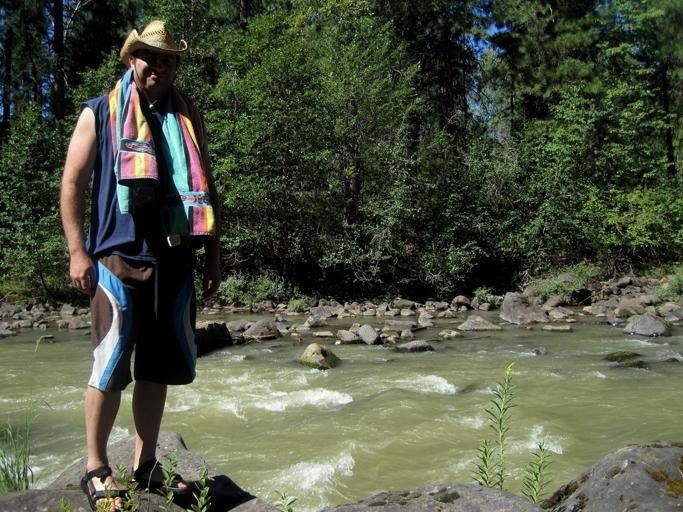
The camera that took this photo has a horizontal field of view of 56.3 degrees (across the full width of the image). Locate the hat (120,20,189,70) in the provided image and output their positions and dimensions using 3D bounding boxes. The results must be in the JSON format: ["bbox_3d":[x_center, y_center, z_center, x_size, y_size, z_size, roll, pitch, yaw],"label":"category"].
[{"bbox_3d":[-1.755,-2.052,6.242,0.617,0.306,0.762,0,-8,-1],"label":"hat"}]

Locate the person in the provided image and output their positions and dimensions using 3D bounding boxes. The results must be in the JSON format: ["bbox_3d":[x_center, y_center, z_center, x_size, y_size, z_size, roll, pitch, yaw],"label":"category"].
[{"bbox_3d":[-1.884,-0.054,5.963,1.331,4.211,1.085,-7,13,-24],"label":"person"}]
